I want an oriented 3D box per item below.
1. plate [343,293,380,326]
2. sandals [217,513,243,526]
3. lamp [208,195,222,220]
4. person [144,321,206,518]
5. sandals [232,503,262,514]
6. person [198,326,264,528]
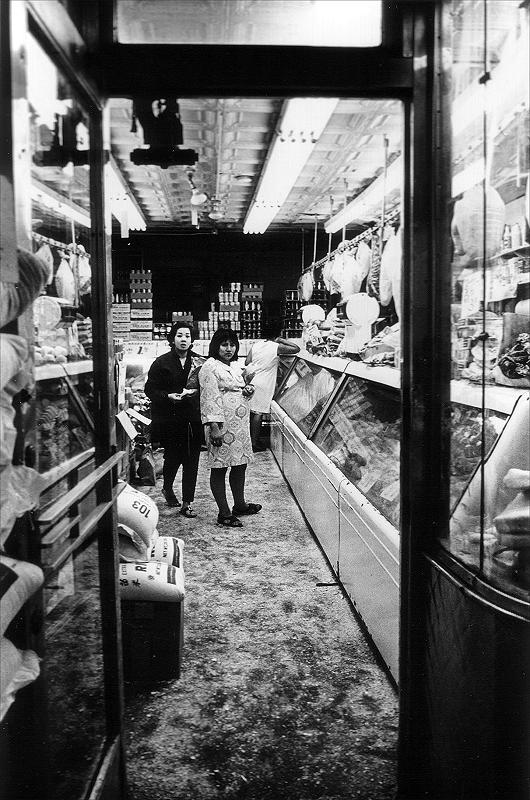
[{"bbox_3d":[0.460,-0.430,3.009,0.146,0.160,0.155,0,4,10],"label":"plate"},{"bbox_3d":[-0.267,0.880,4.770,0.152,0.068,0.080,-1,3,26],"label":"sandals"},{"bbox_3d":[-0.654,-2.550,8.534,0.118,0.246,0.226,1,2,-3],"label":"lamp"},{"bbox_3d":[-0.691,0.144,5.117,0.441,1.548,0.645,-2,4,-32],"label":"person"},{"bbox_3d":[-0.146,0.871,5.135,0.223,0.112,0.096,-5,12,-22],"label":"sandals"},{"bbox_3d":[-0.265,0.206,4.800,0.432,1.452,0.660,0,3,-1],"label":"person"}]
